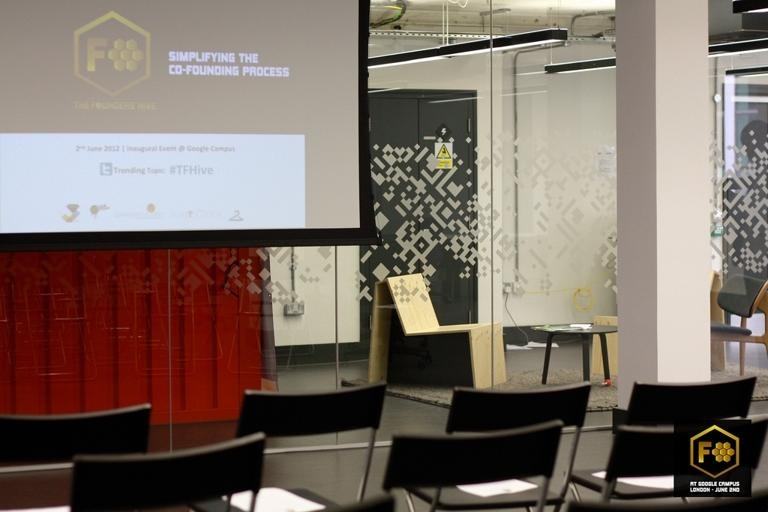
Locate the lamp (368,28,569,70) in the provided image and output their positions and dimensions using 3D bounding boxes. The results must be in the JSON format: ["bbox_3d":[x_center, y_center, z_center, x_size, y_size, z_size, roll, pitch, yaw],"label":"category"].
[{"bbox_3d":[0.587,-1.774,6.065,1.882,0.103,0.274,0,9,27],"label":"lamp"}]

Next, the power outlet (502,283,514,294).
[{"bbox_3d":[1.078,0.284,6.038,0.087,0.079,0.089,-1,2,-5],"label":"power outlet"}]

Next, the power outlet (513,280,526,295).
[{"bbox_3d":[1.183,0.283,6.048,0.112,0.126,0.020,-3,4,-15],"label":"power outlet"}]

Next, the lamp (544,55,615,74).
[{"bbox_3d":[1.710,-1.637,5.953,0.773,0.082,0.127,-4,-6,4],"label":"lamp"}]

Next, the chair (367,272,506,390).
[{"bbox_3d":[0.439,0.670,6.284,1.287,1.112,0.757,-1,1,18],"label":"chair"}]

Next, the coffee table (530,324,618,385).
[{"bbox_3d":[1.679,0.780,6.087,0.580,0.414,0.586,-1,0,35],"label":"coffee table"}]
